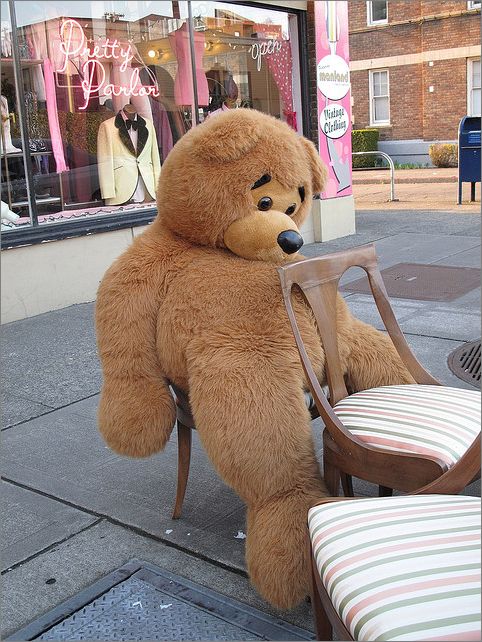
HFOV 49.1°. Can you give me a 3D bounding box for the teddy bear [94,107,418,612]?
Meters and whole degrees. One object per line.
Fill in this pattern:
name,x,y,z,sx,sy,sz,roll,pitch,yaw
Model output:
teddy bear,0.189,-0.130,2.291,1.377,1.612,1.429,22,25,35
